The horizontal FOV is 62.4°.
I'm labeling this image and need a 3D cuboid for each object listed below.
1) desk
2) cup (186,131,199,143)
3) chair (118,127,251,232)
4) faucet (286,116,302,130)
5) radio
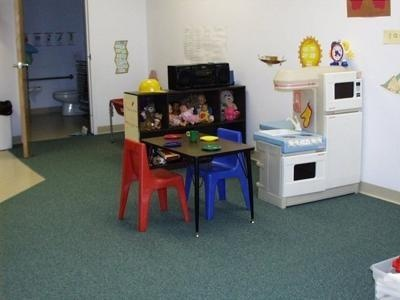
[{"bbox_3d":[0.211,0.374,3.212,0.648,0.717,1.130,-12,-4,4],"label":"desk"},{"bbox_3d":[-0.076,-0.147,3.429,0.130,0.101,0.090,3,5,40],"label":"cup"},{"bbox_3d":[-0.110,0.197,3.239,1.095,0.736,0.958,-6,10,-34],"label":"chair"},{"bbox_3d":[1.128,-0.331,3.901,0.144,0.159,0.390,2,15,12],"label":"faucet"},{"bbox_3d":[0.004,-1.130,5.073,0.958,0.382,0.196,-6,15,-19],"label":"radio"}]
